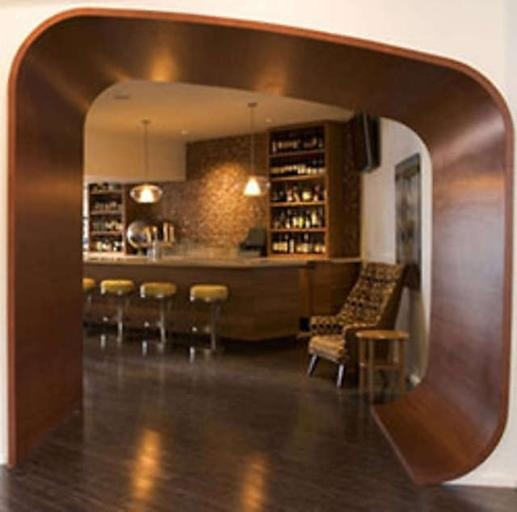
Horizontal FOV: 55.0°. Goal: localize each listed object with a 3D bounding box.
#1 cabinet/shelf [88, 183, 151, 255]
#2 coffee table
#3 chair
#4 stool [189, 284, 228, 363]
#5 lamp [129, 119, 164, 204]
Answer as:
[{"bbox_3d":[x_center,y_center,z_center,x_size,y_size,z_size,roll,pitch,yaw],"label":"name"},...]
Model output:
[{"bbox_3d":[-2.465,-0.668,9.002,1.288,1.482,0.473,0,-1,13],"label":"cabinet/shelf"},{"bbox_3d":[0.984,0.859,3.914,0.427,0.473,0.427,-4,-9,42],"label":"coffee table"},{"bbox_3d":[0.887,0.578,4.370,0.699,0.990,0.692,1,0,-16],"label":"chair"},{"bbox_3d":[-0.547,0.706,5.737,0.446,0.740,0.806,0,0,-5],"label":"stool"},{"bbox_3d":[-1.701,-1.443,7.609,0.518,1.194,0.489,5,14,11],"label":"lamp"}]
